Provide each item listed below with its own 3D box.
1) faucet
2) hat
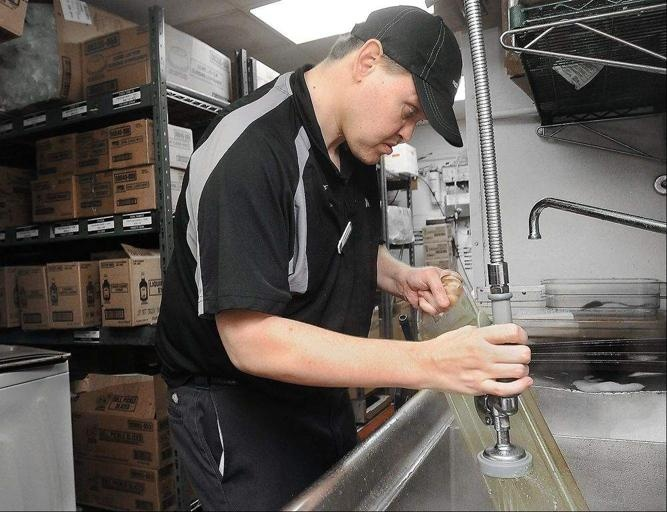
[{"bbox_3d":[0.522,-0.080,1.039,0.049,0.080,0.333,-4,0,-21],"label":"faucet"},{"bbox_3d":[0.171,-0.408,1.179,0.250,0.314,0.163,-4,0,6],"label":"hat"}]
